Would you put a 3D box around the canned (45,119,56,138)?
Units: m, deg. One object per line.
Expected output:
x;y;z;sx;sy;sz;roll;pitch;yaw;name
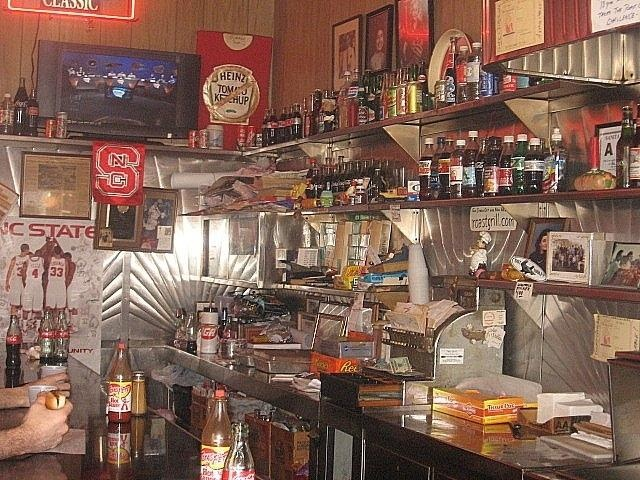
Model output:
-2.509;-1.048;5.206;0.098;0.192;0.082;-1;2;-13;canned

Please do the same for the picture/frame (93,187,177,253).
-1.910;-0.214;5.636;0.632;0.559;0.069;3;1;-18;picture/frame

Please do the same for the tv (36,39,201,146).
-2.008;-1.418;5.450;1.083;0.645;0.129;3;4;-16;tv

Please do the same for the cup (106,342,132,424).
-0.908;0.650;2.520;0.097;0.377;0.195;-2;2;-22;cup

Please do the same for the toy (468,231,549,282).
0.950;0.095;2.879;0.363;0.215;0.178;4;0;38;toy

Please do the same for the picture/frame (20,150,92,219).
-2.630;-0.564;5.484;0.653;0.622;0.051;2;0;-16;picture/frame

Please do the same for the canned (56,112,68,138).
-2.427;-1.081;5.245;0.119;0.243;0.097;-3;3;-41;canned

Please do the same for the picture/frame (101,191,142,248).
-2.007;-0.216;5.578;0.539;0.748;0.057;1;2;-16;picture/frame

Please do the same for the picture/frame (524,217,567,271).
1.111;0.025;2.739;0.026;0.356;0.251;15;-9;-27;picture/frame

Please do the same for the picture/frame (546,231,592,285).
1.135;0.087;2.535;0.033;0.221;0.225;6;-4;-22;picture/frame
